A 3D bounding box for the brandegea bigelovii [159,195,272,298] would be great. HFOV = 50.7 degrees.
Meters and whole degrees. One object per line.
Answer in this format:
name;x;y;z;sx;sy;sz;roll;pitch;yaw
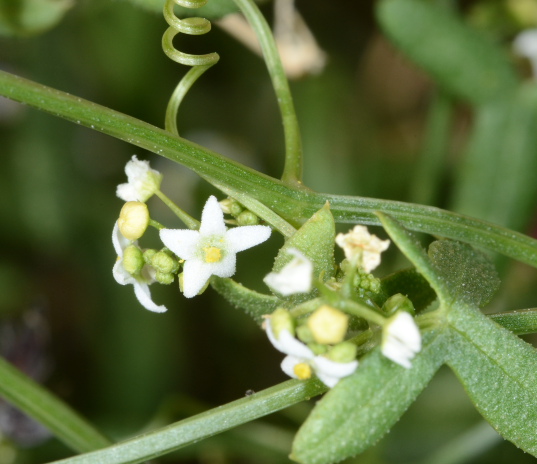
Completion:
brandegea bigelovii;-0.048;0.027;0.551;0.125;0.109;0.047;52;132;33
